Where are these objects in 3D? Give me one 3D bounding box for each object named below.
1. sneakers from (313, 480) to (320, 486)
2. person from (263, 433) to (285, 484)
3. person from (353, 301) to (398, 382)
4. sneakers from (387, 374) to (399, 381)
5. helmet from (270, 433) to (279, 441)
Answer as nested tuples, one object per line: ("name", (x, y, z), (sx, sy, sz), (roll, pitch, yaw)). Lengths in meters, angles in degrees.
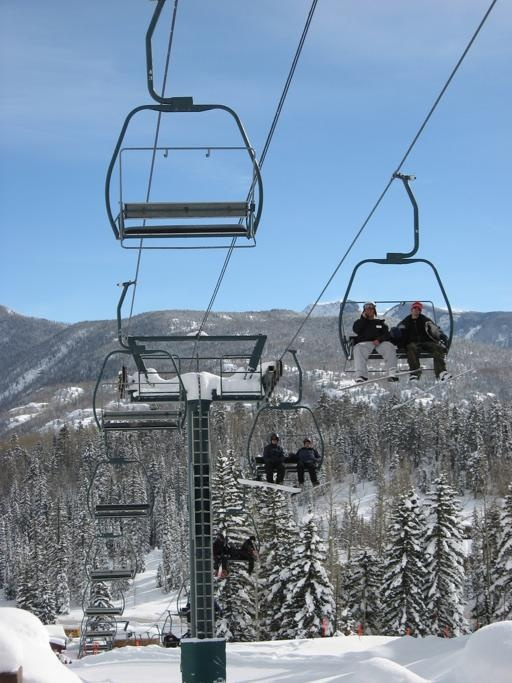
("sneakers", (1.611, 3.800, 29.134), (0.128, 0.172, 0.140), (-2, -7, 11))
("person", (0.492, 3.235, 29.862), (0.593, 1.365, 0.943), (-2, -8, 0))
("person", (2.812, 0.028, 25.854), (1.036, 1.846, 0.812), (-3, -7, 5))
("sneakers", (3.125, 0.847, 24.781), (0.114, 0.147, 0.314), (-3, 2, -13))
("helmet", (0.525, 2.613, 29.452), (0.144, 0.215, 0.203), (1, -2, -4))
